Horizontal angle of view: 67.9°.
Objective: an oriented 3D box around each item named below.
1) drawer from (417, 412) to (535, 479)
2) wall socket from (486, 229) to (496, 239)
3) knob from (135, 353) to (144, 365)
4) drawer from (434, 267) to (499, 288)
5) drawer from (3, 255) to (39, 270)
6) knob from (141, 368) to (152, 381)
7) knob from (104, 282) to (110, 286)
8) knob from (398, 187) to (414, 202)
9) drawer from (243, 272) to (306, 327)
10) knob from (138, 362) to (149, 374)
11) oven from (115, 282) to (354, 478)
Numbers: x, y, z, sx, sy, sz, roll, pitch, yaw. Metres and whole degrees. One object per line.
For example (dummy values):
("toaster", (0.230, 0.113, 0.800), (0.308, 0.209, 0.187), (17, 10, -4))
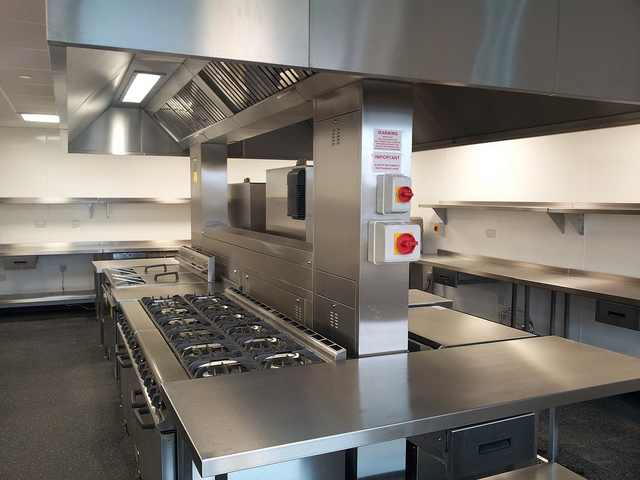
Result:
("drawer", (0.599, 0.748, 1.724), (0.282, 0.145, 0.304), (-1, -2, -23))
("wall socket", (1.872, -0.068, 5.203), (0.069, 0.091, 0.127), (-2, 4, -20))
("knob", (-0.841, 0.553, 2.233), (0.047, 0.014, 0.049), (-10, 14, -41))
("drawer", (1.534, 0.397, 5.058), (0.343, 0.151, 0.320), (-1, 4, -27))
("drawer", (-3.590, 0.261, 5.690), (0.222, 0.120, 0.242), (-2, 3, -43))
("knob", (-0.762, 0.577, 2.075), (0.050, 0.053, 0.014), (-8, -45, 31))
("knob", (-1.679, 0.339, 3.754), (0.029, 0.029, 0.042), (-3, 3, -32))
("knob", (0.360, -0.186, 1.949), (0.040, 0.060, 0.101), (5, 11, 32))
("drawer", (-0.293, 0.326, 2.652), (0.098, 0.150, 0.702), (-15, -29, 23))
("knob", (-0.786, 0.568, 2.136), (0.057, 0.062, 0.016), (-3, -29, 36))
("oven", (-0.547, 0.778, 2.460), (0.875, 0.775, 1.365), (-5, 10, -25))
